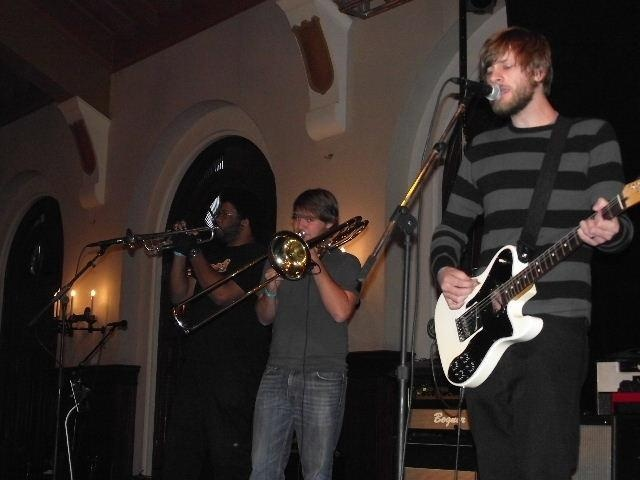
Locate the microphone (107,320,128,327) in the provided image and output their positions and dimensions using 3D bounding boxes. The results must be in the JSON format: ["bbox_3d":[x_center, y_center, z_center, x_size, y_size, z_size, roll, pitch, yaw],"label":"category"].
[{"bbox_3d":[-2.381,0.990,6.523,0.261,0.100,0.095,-6,-51,27],"label":"microphone"}]

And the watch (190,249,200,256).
[{"bbox_3d":[-0.925,0.088,4.109,0.047,0.055,0.013,1,5,-20],"label":"watch"}]

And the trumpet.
[{"bbox_3d":[-1.149,0.014,4.319,0.676,0.281,0.176,-12,-37,-6],"label":"trumpet"}]
